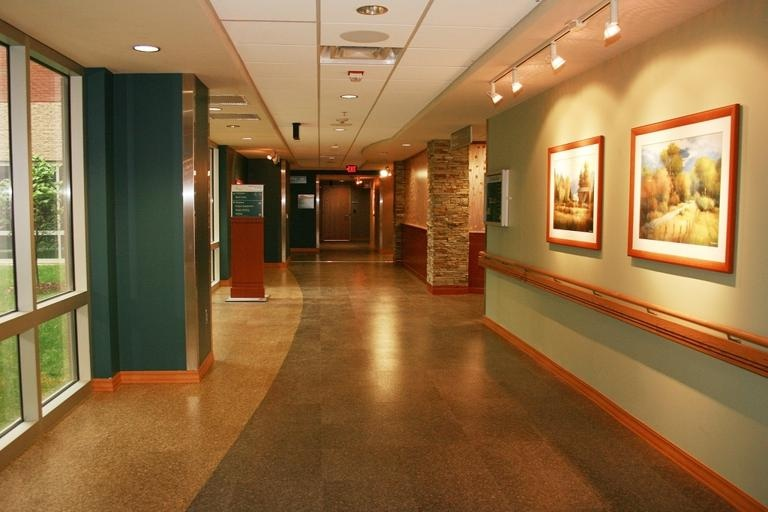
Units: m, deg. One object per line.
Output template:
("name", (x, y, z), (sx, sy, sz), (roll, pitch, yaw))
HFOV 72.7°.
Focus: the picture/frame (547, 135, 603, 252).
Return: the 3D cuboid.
("picture/frame", (2.260, -0.754, 6.244), (1.009, 1.126, 0.033), (-7, 9, -34))
